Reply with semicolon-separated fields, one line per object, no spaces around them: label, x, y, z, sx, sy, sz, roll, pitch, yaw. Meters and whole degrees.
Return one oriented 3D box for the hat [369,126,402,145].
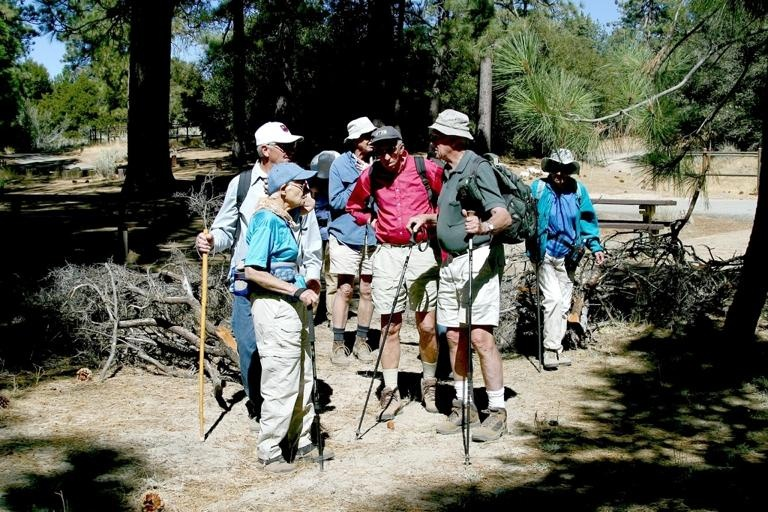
hat;0.021;-1.438;9.817;0.339;0.201;0.522;0;8;3

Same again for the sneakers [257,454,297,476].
sneakers;-1.088;2.177;8.672;0.421;0.196;0.167;1;4;2

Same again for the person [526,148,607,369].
person;2.359;0.034;10.990;0.845;2.900;0.490;-1;7;-4

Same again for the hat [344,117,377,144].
hat;-0.329;-1.653;10.875;0.353;0.192;0.346;-30;12;13

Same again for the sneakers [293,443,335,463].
sneakers;-0.733;2.097;8.819;0.380;0.170;0.179;-4;0;4

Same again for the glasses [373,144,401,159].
glasses;-0.002;-1.235;9.710;0.306;0.175;0.140;4;8;28

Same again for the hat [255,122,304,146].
hat;-1.159;-1.319;9.011;0.398;0.164;0.276;1;12;10

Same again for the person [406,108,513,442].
person;0.907;0.203;9.259;0.996;3.637;0.624;6;9;37

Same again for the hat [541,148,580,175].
hat;2.300;-1.203;10.730;0.377;0.181;0.320;12;-12;-39

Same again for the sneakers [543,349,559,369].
sneakers;2.202;1.376;11.012;0.152;0.104;0.278;-2;8;-4

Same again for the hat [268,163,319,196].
hat;-0.979;-0.849;8.593;0.532;0.280;0.353;-14;10;11

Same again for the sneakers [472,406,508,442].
sneakers;1.205;1.871;9.298;0.225;0.294;0.614;4;10;39

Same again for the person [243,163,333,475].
person;-1.030;0.627;8.605;0.788;3.169;0.563;-2;8;-12

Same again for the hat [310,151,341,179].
hat;-0.820;-1.356;11.580;0.373;0.297;0.541;9;38;12

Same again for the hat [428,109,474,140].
hat;0.768;-1.508;9.248;0.395;0.208;0.356;-14;31;-38
